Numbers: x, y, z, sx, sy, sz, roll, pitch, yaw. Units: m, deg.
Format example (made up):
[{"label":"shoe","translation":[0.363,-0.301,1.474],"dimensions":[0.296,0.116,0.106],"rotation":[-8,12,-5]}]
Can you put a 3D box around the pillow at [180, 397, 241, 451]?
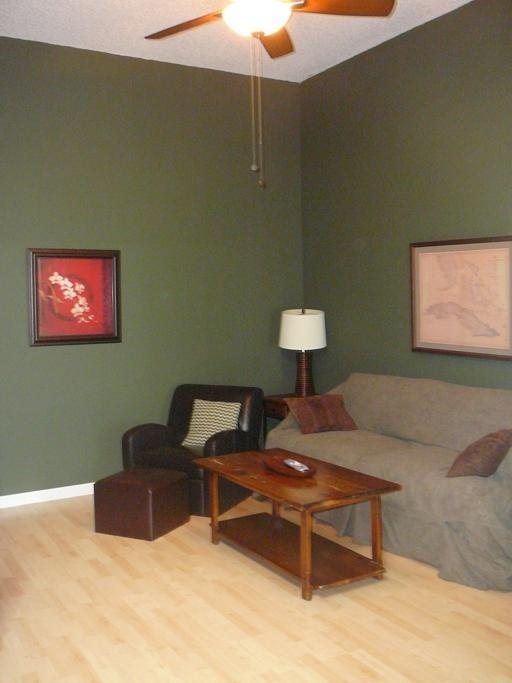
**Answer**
[{"label":"pillow","translation":[-0.349,0.621,4.521],"dimensions":[0.415,0.363,0.098],"rotation":[-7,-27,36]}]

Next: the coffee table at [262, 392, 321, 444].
[{"label":"coffee table","translation":[0.218,0.613,4.986],"dimensions":[0.391,0.422,0.485],"rotation":[-4,7,-40]}]

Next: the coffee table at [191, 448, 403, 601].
[{"label":"coffee table","translation":[0.266,0.655,3.039],"dimensions":[0.596,0.494,1.069],"rotation":[-3,6,-31]}]

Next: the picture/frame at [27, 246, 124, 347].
[{"label":"picture/frame","translation":[-1.388,-0.343,4.474],"dimensions":[0.829,0.806,0.068],"rotation":[-2,3,-33]}]

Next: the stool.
[{"label":"stool","translation":[-0.729,0.971,3.743],"dimensions":[0.440,0.292,0.422],"rotation":[2,2,25]}]
